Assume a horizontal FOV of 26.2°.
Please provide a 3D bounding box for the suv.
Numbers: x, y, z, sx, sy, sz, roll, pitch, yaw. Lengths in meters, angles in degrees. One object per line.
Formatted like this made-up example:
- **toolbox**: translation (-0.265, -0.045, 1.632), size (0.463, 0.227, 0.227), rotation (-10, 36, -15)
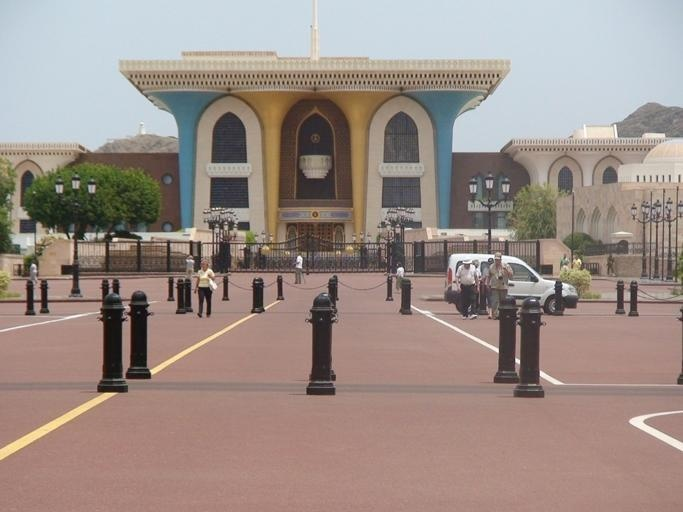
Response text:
- **suv**: translation (6.066, 1.101, 51.636), size (3.862, 1.922, 2.286), rotation (-1, 2, -2)
